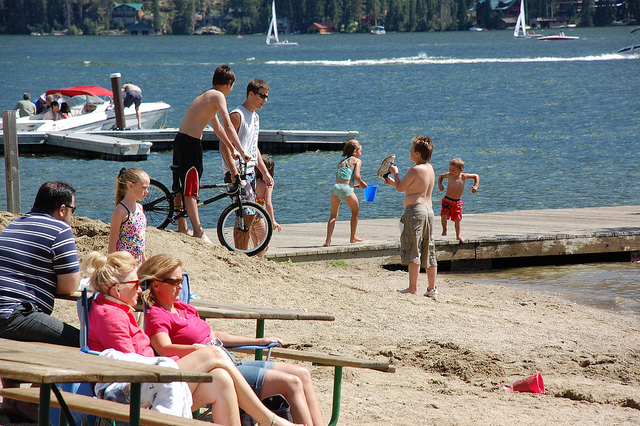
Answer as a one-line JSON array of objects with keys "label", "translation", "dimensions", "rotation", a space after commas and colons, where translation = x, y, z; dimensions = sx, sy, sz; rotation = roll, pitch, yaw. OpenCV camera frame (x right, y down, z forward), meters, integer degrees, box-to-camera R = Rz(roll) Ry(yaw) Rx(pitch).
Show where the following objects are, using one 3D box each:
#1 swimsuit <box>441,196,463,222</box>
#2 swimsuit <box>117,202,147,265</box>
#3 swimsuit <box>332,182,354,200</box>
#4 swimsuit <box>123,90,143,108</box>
[{"label": "swimsuit", "translation": [9.552, -0.358, 98.369], "dimensions": [1.476, 1.794, 0.893], "rotation": [0, 10, -1]}, {"label": "swimsuit", "translation": [-12.771, 1.339, 93.824], "dimensions": [2.354, 4.284, 1.693], "rotation": [3, 0, 30]}, {"label": "swimsuit", "translation": [1.667, -1.764, 97.653], "dimensions": [1.583, 1.095, 1.091], "rotation": [8, 14, 19]}, {"label": "swimsuit", "translation": [-15.684, -9.552, 112.677], "dimensions": [1.437, 1.385, 0.833], "rotation": [13, 3, -18]}]
